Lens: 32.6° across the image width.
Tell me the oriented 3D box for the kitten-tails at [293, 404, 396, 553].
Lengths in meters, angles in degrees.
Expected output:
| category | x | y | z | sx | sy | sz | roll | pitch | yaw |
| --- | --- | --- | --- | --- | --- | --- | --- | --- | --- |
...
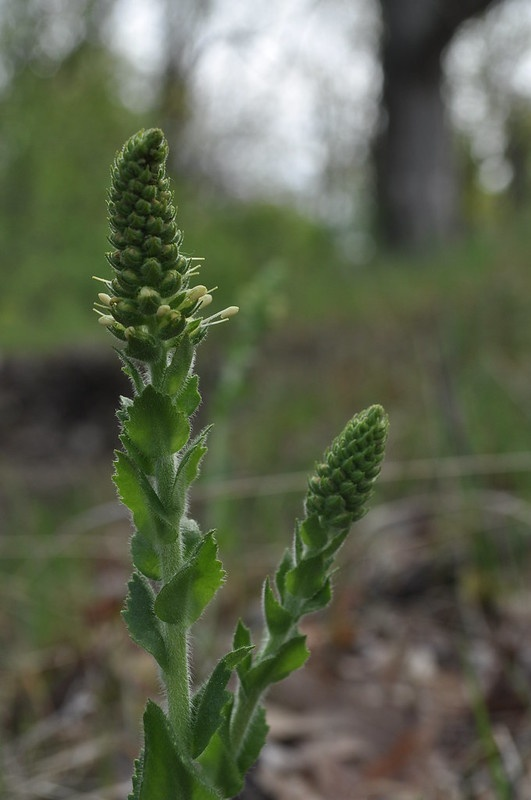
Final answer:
| category | x | y | z | sx | sy | sz | roll | pitch | yaw |
| --- | --- | --- | --- | --- | --- | --- | --- | --- | --- |
| kitten-tails | 0.076 | 0.070 | 0.895 | 0.120 | 0.118 | 0.060 | -21 | 28 | 2 |
